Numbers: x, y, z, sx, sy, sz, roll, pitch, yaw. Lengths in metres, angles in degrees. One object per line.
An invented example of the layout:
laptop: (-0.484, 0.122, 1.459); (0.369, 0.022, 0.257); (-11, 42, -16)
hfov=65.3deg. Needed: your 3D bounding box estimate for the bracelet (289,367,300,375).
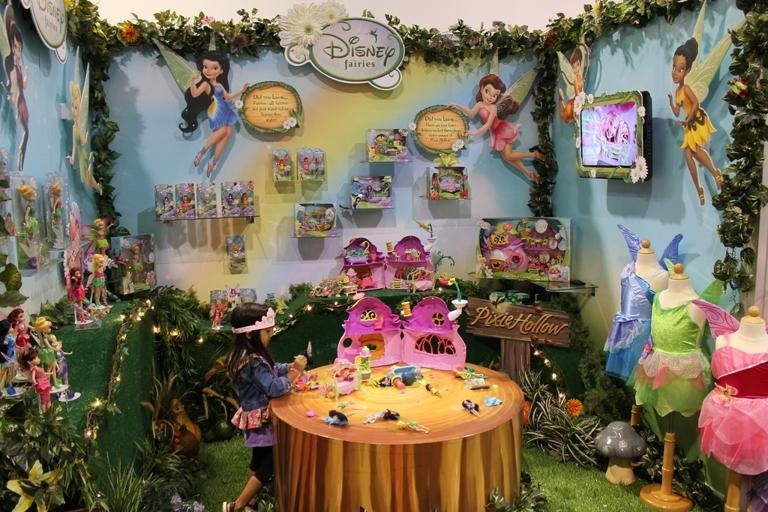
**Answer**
bracelet: (-0.807, 1.033, 5.397); (0.063, 0.049, 0.064); (1, 4, -10)
